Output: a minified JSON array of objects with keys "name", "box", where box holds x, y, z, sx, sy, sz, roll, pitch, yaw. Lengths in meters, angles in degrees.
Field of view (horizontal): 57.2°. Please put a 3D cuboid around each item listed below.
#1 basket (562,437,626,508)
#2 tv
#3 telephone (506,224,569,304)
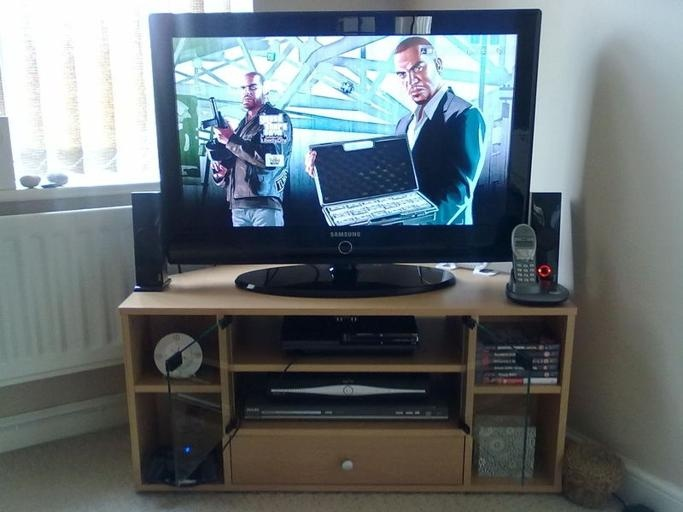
[{"name":"basket","box":[0.873,0.759,2.175,0.192,0.178,0.141,6,15,29]},{"name":"tv","box":[0.018,-0.386,2.245,0.955,0.722,0.278,-1,9,0]},{"name":"telephone","box":[0.675,0.027,2.163,0.212,0.252,0.164,-3,13,-7]}]
